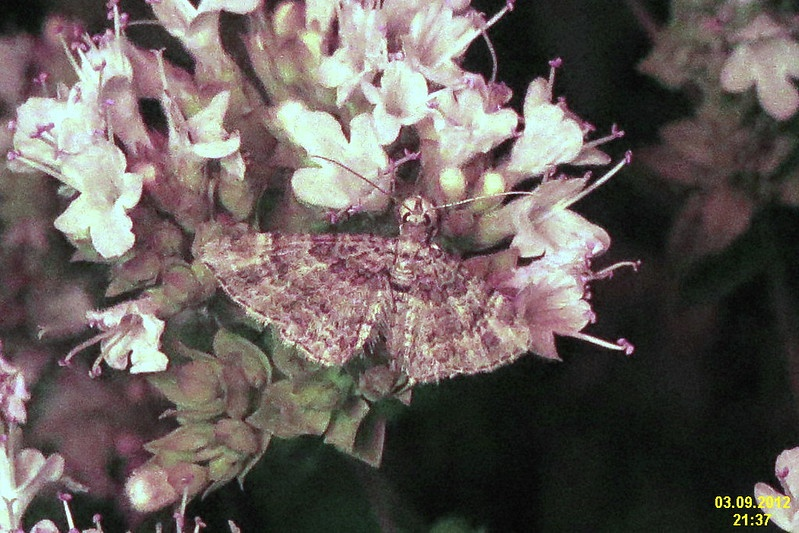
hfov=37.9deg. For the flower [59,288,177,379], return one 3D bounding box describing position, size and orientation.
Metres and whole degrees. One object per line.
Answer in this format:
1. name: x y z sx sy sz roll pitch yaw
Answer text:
1. flower: -0.658 0.162 2.690 0.258 0.153 0.189 -1 79 -1
